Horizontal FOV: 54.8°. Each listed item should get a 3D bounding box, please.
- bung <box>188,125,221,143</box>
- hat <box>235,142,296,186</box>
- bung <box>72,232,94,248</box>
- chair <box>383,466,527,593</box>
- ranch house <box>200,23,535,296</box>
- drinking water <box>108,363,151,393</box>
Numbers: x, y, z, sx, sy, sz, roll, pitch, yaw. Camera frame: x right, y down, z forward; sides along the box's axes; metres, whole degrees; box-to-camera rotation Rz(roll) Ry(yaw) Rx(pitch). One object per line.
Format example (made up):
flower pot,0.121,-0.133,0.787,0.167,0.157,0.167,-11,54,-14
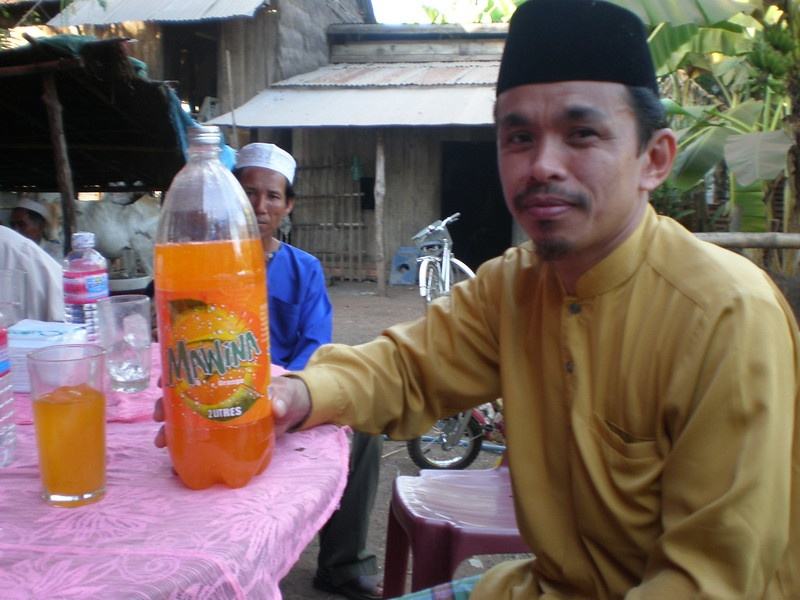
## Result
bung,-0.462,-0.386,1.813,0.065,0.035,0.058,5,13,18
hat,-0.597,-0.617,3.539,0.235,0.099,0.234,8,8,32
bung,-1.070,-0.195,2.575,0.077,0.045,0.072,2,3,29
chair,0.213,0.791,2.883,0.592,0.339,0.509,-1,0,5
ranch house,-0.189,-2.280,12.320,6.363,3.296,4.725,0,7,4
drinking water,-0.799,0.230,2.283,0.100,0.056,0.093,0,0,25
